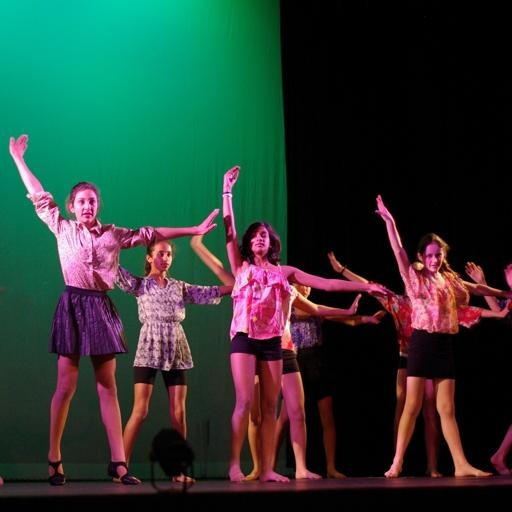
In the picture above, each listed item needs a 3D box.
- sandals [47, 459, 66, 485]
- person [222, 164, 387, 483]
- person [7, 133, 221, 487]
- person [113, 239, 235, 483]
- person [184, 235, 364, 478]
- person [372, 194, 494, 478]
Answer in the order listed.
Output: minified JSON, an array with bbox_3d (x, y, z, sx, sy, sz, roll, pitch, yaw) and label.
[{"bbox_3d":[-1.165,1.272,3.826,0.079,0.170,0.177,0,-3,-17],"label":"sandals"},{"bbox_3d":[0.262,0.415,4.132,0.923,1.942,0.369,1,-20,1],"label":"person"},{"bbox_3d":[-0.970,0.326,4.035,1.071,2.193,0.499,-1,-3,-8],"label":"person"},{"bbox_3d":[-0.600,0.815,4.692,1.200,1.804,0.612,12,-34,-28],"label":"person"},{"bbox_3d":[0.159,0.799,4.697,1.198,1.804,0.551,16,-40,-27],"label":"person"},{"bbox_3d":[1.193,0.534,4.516,0.657,1.867,0.573,-2,-3,12],"label":"person"}]
